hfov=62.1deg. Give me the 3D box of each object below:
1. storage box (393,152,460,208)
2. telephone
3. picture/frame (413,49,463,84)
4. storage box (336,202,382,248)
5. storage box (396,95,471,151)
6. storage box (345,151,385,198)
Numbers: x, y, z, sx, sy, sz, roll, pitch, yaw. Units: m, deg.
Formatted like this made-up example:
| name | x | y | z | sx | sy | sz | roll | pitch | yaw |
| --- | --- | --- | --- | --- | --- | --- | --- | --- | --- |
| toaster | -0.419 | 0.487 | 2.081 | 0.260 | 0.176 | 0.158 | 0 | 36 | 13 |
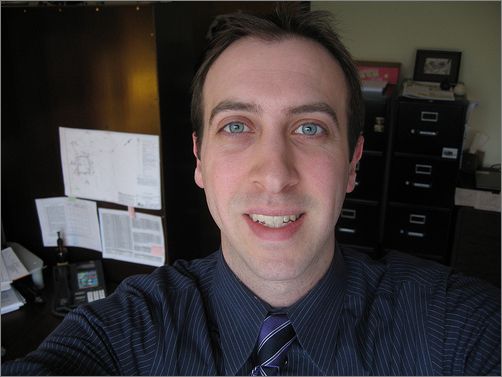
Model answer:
| name | x | y | z | sx | sy | sz | roll | pitch | yaw |
| --- | --- | --- | --- | --- | --- | --- | --- | --- | --- |
| storage box | 1.467 | -0.064 | 3.573 | 0.445 | 0.356 | 0.453 | 6 | 8 | 11 |
| telephone | -1.120 | 0.624 | 2.686 | 0.350 | 0.193 | 0.365 | -10 | 52 | -16 |
| picture/frame | 1.714 | -1.110 | 3.790 | 0.329 | 0.263 | 0.035 | 7 | 11 | 13 |
| storage box | 0.939 | 0.354 | 3.912 | 0.158 | 0.294 | 0.292 | 24 | -24 | -35 |
| storage box | 1.459 | -0.530 | 3.444 | 0.449 | 0.418 | 0.470 | 4 | 13 | 8 |
| storage box | 0.846 | -0.113 | 3.033 | 0.340 | 0.358 | 0.183 | 2 | 12 | 6 |
